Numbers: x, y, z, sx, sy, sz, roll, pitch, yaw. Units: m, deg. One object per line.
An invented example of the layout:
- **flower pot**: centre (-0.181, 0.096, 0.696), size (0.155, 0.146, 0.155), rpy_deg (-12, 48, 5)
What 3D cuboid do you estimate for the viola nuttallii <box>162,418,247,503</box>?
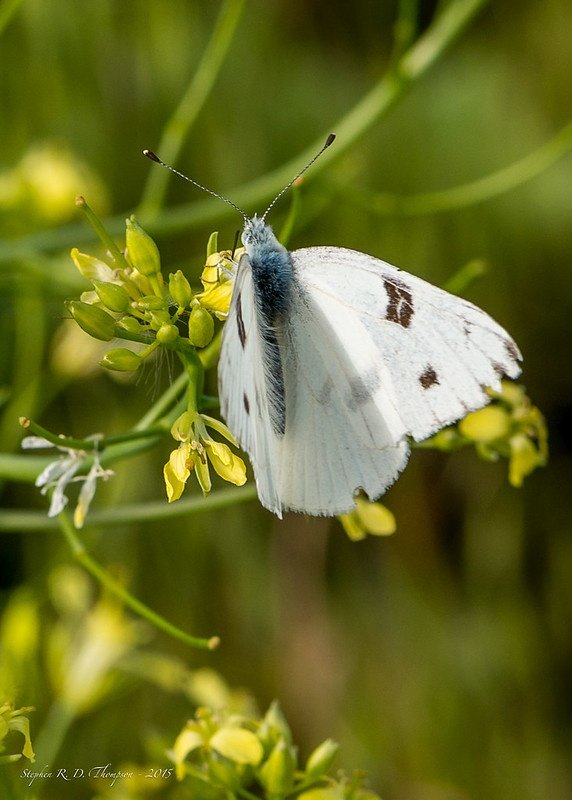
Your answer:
- **viola nuttallii**: centre (-0.144, 0.079, 1.295), size (0.123, 0.118, 0.166), rpy_deg (-16, 26, -9)
